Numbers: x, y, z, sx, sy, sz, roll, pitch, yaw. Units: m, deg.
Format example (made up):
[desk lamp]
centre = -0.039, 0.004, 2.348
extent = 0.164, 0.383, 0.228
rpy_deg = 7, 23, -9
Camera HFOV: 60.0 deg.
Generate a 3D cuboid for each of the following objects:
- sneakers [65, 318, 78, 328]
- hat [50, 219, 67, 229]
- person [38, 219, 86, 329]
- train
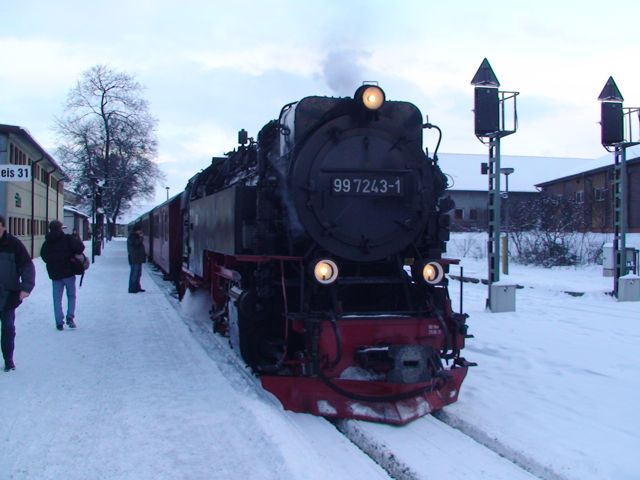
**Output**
[sneakers]
centre = -4.157, 1.410, 9.239
extent = 0.102, 0.157, 0.305
rpy_deg = 1, 1, -6
[hat]
centre = -4.301, -0.221, 9.098
extent = 0.166, 0.224, 0.196
rpy_deg = 2, -8, -2
[person]
centre = -4.290, 0.586, 9.332
extent = 0.699, 1.833, 0.852
rpy_deg = -1, 1, -25
[train]
centre = -0.365, 0.069, 8.084
extent = 2.473, 3.901, 4.910
rpy_deg = -1, 1, -28
